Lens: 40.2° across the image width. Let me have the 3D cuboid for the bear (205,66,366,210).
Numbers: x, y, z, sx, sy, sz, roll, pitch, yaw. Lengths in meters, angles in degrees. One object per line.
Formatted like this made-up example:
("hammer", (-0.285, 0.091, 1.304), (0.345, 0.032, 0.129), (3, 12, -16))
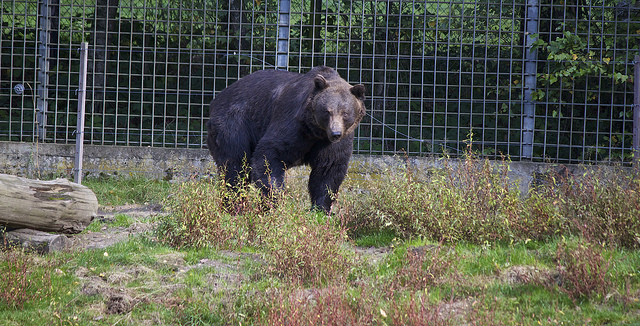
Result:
("bear", (-0.813, -0.706, 22.876), (2.575, 3.775, 4.695), (-4, 7, -44))

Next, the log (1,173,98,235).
("log", (-6.277, 0.978, 20.341), (2.039, 1.102, 0.845), (7, -23, -26))
